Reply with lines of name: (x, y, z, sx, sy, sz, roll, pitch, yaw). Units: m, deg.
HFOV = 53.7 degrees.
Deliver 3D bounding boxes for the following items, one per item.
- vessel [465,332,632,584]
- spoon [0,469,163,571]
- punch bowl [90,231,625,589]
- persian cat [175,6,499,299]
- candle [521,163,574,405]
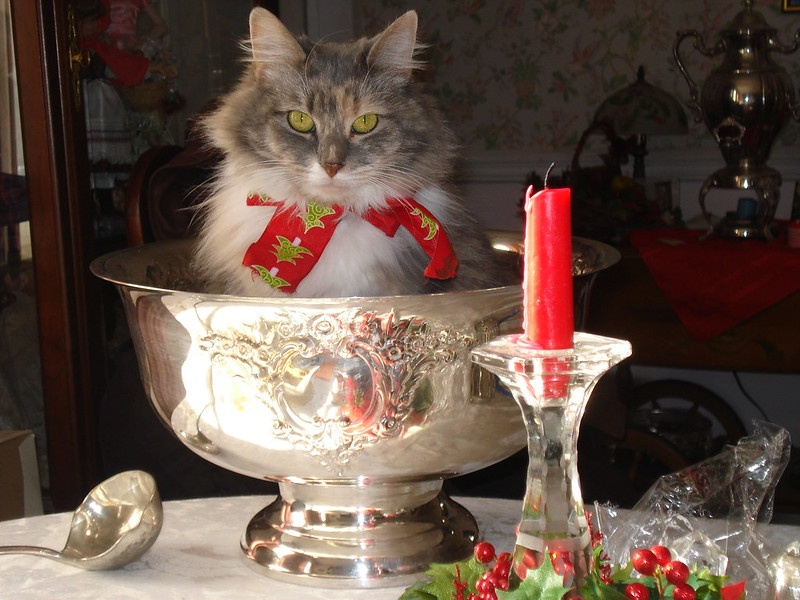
vessel: (0.137, 0.131, 0.693, 0.121, 0.212, 0.138, 3, 10, 20)
spoon: (-0.352, 0.259, 0.919, 0.175, 0.058, 0.090, -20, 25, -21)
punch bowl: (-0.069, 0.117, 0.887, 0.446, 0.255, 0.442, -1, 9, 0)
persian cat: (-0.076, -0.190, 1.176, 0.376, 0.351, 0.507, -1, 0, 0)
candle: (0.122, -0.031, 0.650, 0.039, 0.134, 0.076, 1, 10, 10)
